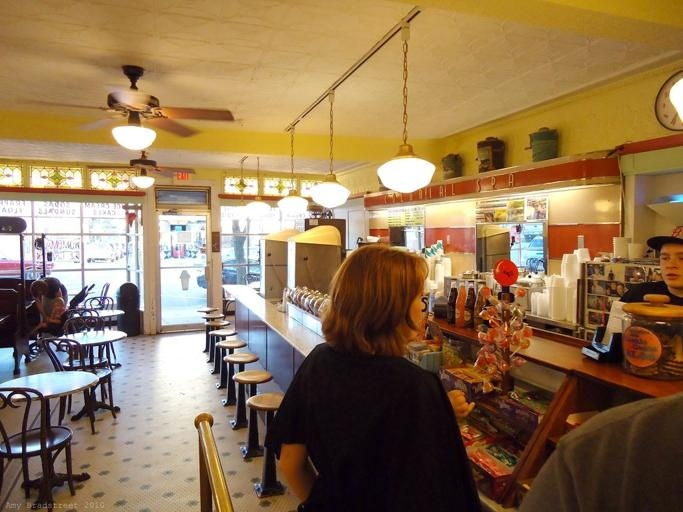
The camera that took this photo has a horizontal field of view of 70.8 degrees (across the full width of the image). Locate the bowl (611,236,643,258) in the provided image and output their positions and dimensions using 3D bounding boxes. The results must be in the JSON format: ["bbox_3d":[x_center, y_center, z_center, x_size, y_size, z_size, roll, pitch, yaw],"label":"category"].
[{"bbox_3d":[2.444,-0.065,4.147,0.171,0.219,0.253,-1,-1,-26],"label":"bowl"}]

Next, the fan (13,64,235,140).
[{"bbox_3d":[-1.702,-1.260,4.187,1.116,0.347,1.045,0,1,13],"label":"fan"}]

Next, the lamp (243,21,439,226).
[{"bbox_3d":[0.045,-1.479,5.554,1.572,1.239,0.494,-7,-13,40],"label":"lamp"}]
